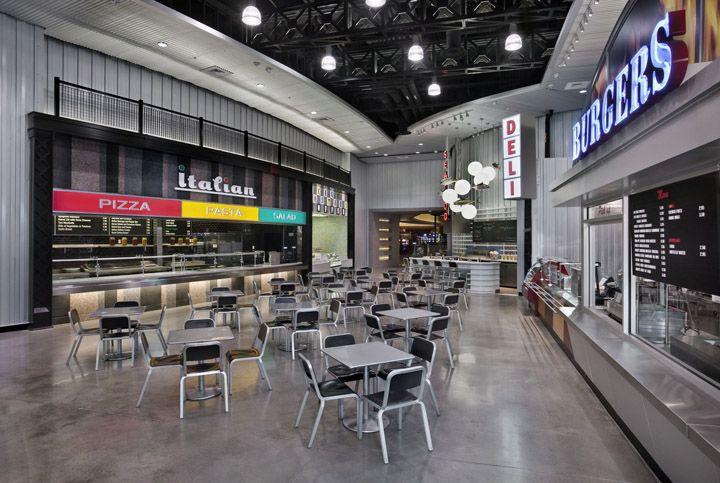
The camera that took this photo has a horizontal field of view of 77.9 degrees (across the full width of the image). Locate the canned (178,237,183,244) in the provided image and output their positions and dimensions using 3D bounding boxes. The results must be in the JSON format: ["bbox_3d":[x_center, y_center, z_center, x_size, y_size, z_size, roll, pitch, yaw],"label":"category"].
[{"bbox_3d":[-5.680,-0.017,14.052,0.157,0.286,0.164,-4,-1,-13],"label":"canned"}]

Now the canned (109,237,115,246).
[{"bbox_3d":[-6.918,-0.001,12.386,0.176,0.250,0.117,-6,11,-33],"label":"canned"}]

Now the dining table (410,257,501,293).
[{"bbox_3d":[3.312,1.149,15.783,0.949,0.960,4.162,13,-8,-37],"label":"dining table"}]
